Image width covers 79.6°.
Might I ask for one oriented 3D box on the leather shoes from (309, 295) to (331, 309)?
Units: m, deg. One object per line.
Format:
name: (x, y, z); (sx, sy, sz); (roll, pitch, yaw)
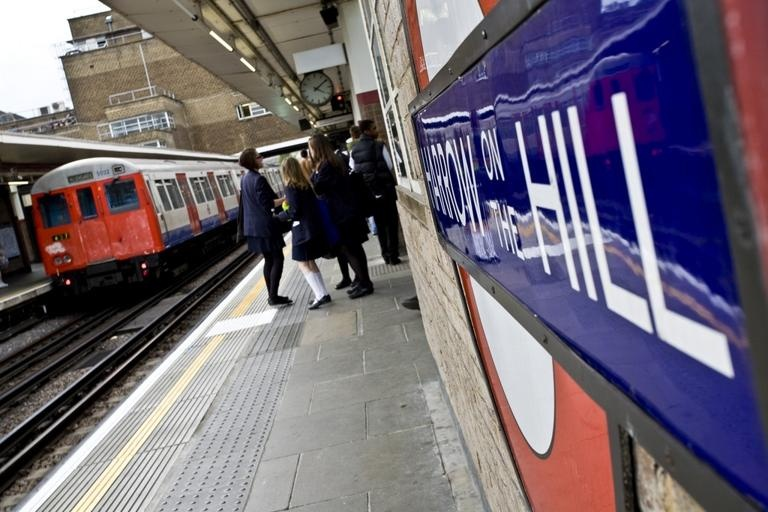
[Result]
leather shoes: (-1.017, 0.708, 7.167); (0.324, 0.126, 0.186); (-12, 12, 21)

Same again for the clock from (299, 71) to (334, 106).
clock: (-1.973, -4.887, 13.335); (0.945, 0.928, 0.449); (-9, 12, -1)

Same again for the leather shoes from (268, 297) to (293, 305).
leather shoes: (-1.714, 0.722, 7.625); (0.308, 0.126, 0.175); (-5, 6, -1)

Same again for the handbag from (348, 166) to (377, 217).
handbag: (-0.341, -0.971, 7.040); (0.154, 0.663, 0.394); (-6, 16, 38)
